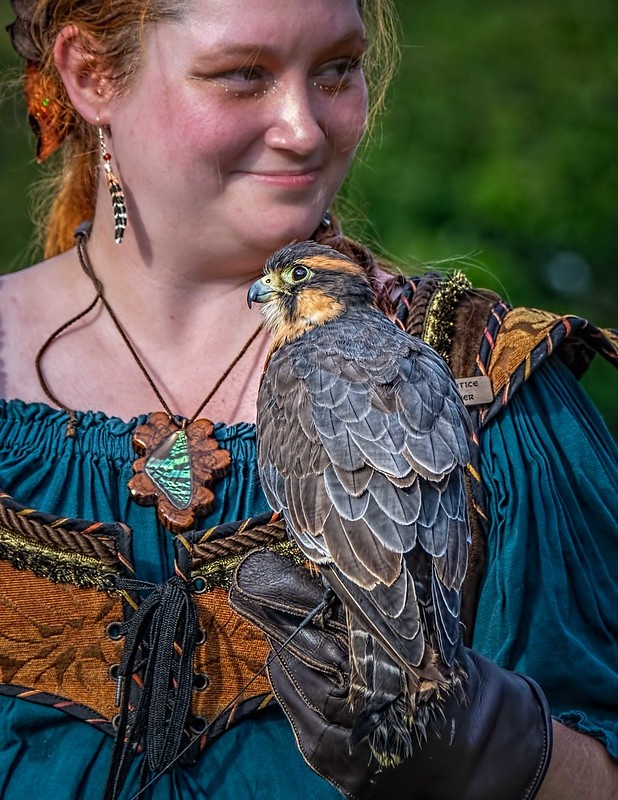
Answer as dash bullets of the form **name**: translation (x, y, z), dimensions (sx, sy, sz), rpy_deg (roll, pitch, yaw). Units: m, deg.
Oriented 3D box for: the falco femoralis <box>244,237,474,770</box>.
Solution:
- **falco femoralis**: translation (0.182, 0.181, 2.676), dimensions (0.552, 0.990, 0.795), rpy_deg (-6, 23, -3)
